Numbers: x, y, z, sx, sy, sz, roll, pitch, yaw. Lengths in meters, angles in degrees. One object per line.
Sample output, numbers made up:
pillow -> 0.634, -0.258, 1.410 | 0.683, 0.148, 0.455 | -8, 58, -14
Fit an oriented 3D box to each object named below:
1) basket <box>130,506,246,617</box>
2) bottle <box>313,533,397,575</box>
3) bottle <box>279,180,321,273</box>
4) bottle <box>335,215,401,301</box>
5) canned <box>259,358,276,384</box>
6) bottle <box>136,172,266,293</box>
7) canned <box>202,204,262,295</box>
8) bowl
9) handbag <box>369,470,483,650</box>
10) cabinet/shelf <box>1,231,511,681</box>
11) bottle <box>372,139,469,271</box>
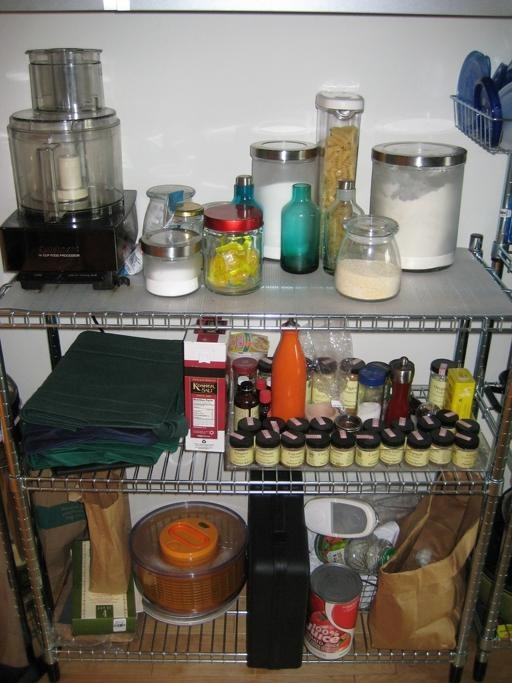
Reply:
basket -> -0.129, 0.486, 1.296 | 0.208, 0.079, 0.206 | -11, 28, -38
bottle -> 0.239, 0.521, 1.402 | 0.118, 0.070, 0.071 | 3, 17, 34
bottle -> 0.083, -0.213, 1.092 | 0.070, 0.172, 0.034 | 0, 25, 3
bottle -> 0.170, -0.146, 1.055 | 0.141, 0.151, 0.138 | 0, 28, 3
canned -> 0.020, 0.064, 1.276 | 0.047, 0.049, 0.046 | -1, 22, -1
bottle -> -0.123, -0.219, 1.117 | 0.266, 0.248, 0.152 | -2, 30, -4
canned -> -0.052, -0.178, 1.061 | 0.111, 0.148, 0.153 | -16, 29, -29
bowl -> -0.127, 0.478, 1.306 | 0.206, 0.091, 0.206 | 5, 21, -2
handbag -> 0.380, 0.487, 1.252 | 0.178, 0.364, 0.305 | 18, 52, 15
cabinet/shelf -> -0.001, 0.255, 1.184 | 0.990, 1.066, 0.388 | -1, 32, -1
bottle -> 0.296, -0.283, 1.196 | 0.228, 0.239, 0.226 | 1, 28, 10
